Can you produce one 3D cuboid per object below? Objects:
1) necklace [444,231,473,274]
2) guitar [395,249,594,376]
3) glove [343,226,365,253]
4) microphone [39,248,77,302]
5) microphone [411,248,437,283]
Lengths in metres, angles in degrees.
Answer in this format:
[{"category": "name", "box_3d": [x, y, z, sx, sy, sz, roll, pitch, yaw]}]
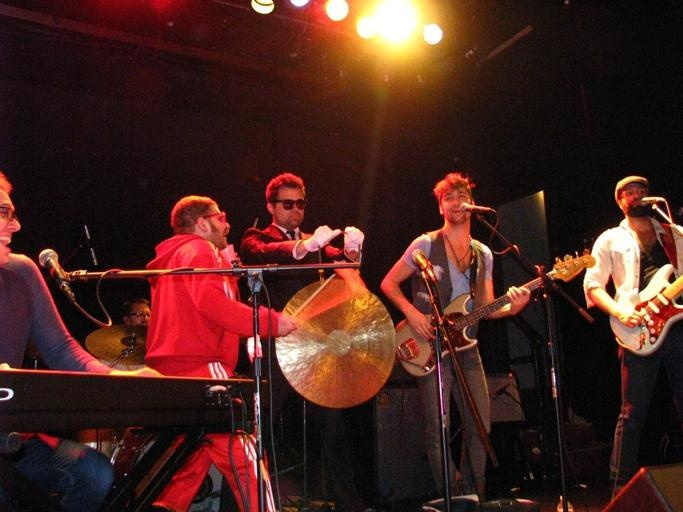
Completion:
[{"category": "necklace", "box_3d": [0.974, -0.054, 4.983, 0.216, 0.352, 0.077, -5, -10, -22]}, {"category": "guitar", "box_3d": [1.105, 0.495, 4.709, 1.421, 0.879, 0.395, -7, -30, 18]}, {"category": "glove", "box_3d": [0.067, -0.096, 3.590, 0.089, 0.173, 0.161, 2, -5, -1]}, {"category": "microphone", "box_3d": [-2.097, 0.149, 4.423, 0.144, 0.506, 0.136, -19, -19, -48]}, {"category": "microphone", "box_3d": [0.550, 0.072, 4.051, 0.132, 0.330, 0.228, 4, -29, -1]}]
